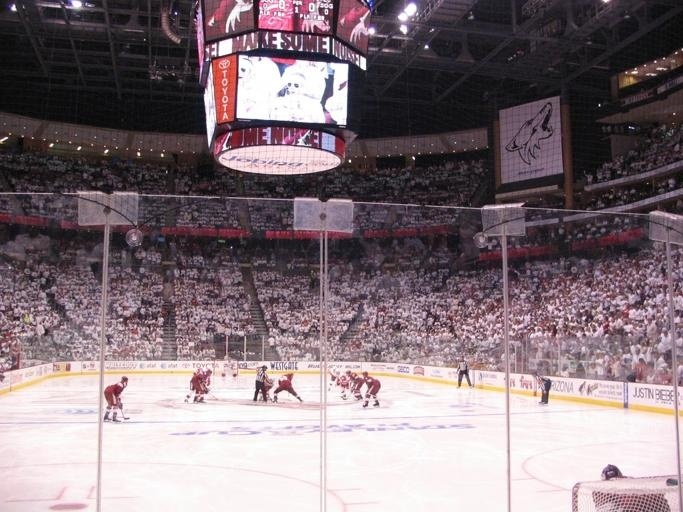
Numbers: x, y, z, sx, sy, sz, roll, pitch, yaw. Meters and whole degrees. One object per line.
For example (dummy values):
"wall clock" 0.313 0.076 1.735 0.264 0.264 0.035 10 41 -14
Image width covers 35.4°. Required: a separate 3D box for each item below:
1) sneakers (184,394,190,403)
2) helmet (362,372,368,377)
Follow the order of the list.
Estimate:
"sneakers" -6.994 6.541 48.827 0.164 0.514 0.246 0 -4 21
"helmet" 1.050 5.326 48.087 0.207 0.211 0.211 -3 -13 33
